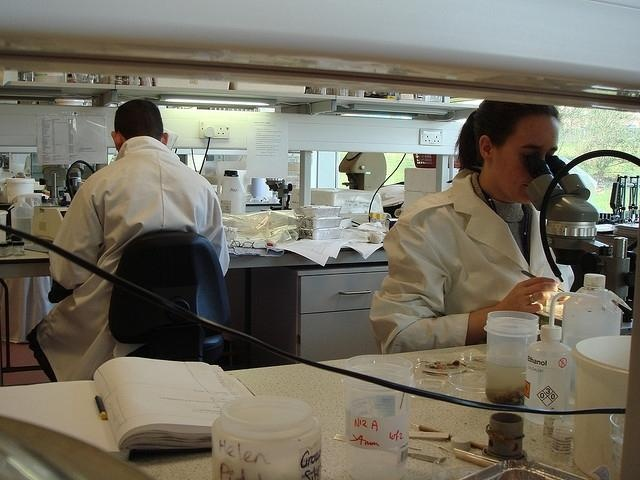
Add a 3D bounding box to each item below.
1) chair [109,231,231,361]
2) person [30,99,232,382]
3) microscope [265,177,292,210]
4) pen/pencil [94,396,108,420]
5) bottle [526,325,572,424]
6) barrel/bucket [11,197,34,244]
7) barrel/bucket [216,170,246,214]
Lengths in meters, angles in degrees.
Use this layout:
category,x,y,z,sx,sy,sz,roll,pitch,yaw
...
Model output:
category,x,y,z,sx,sy,sz,roll,pitch,yaw
chair,-0.546,0.202,1.998,0.414,0.605,0.565,0,6,-14
person,-0.905,0.052,2.326,0.935,1.333,0.905,2,3,-29
microscope,-0.447,-0.522,5.233,0.264,0.337,0.105,12,-28,-12
pen/pencil,-0.364,0.279,0.799,0.016,0.009,0.061,-25,28,-10
bottle,0.414,0.229,0.858,0.082,0.156,0.063,9,7,20
barrel/bucket,-1.681,-0.177,2.747,0.096,0.155,0.108,5,28,-10
barrel/bucket,-0.604,-0.315,3.351,0.244,0.332,0.175,-3,12,-15
